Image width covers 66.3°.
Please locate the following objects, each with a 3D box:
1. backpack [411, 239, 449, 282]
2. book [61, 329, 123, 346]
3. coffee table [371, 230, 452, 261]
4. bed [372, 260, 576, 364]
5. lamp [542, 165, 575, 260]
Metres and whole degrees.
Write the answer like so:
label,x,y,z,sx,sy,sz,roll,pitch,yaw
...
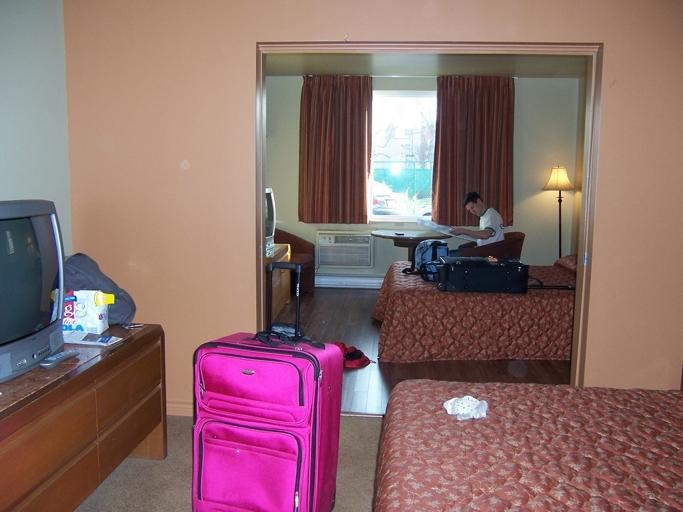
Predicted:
label,x,y,z,sx,sy,sz,roll,pitch,yaw
backpack,0.827,0.046,4.933,0.343,0.465,0.310,1,5,0
book,-1.250,0.407,2.596,0.306,0.039,0.180,7,7,-1
coffee table,0.837,-0.237,6.521,0.556,0.437,0.575,-4,11,-23
bed,1.170,0.556,4.496,0.977,0.370,1.043,1,9,5
lamp,2.858,-0.583,6.931,0.357,1.210,0.361,7,14,26
